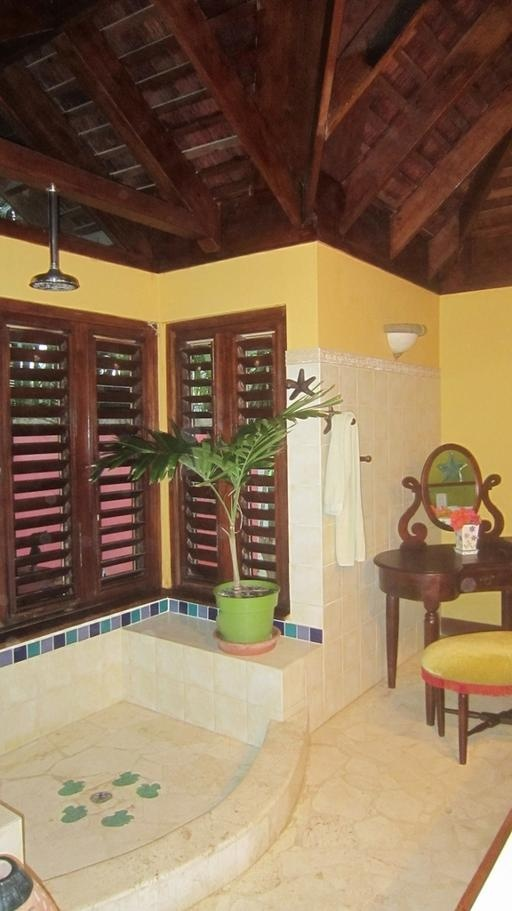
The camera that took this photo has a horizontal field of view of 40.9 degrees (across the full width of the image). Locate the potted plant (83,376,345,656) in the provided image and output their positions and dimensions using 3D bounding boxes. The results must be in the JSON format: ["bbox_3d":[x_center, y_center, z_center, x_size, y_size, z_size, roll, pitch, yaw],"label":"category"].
[{"bbox_3d":[-0.128,0.269,2.852,0.678,1.089,1.039,-6,0,17],"label":"potted plant"}]

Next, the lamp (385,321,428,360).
[{"bbox_3d":[0.730,-0.576,3.386,0.188,0.155,0.168,-1,6,-6],"label":"lamp"}]

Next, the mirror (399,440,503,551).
[{"bbox_3d":[1.037,0.215,3.654,0.538,0.516,0.030,-1,5,-4],"label":"mirror"}]
